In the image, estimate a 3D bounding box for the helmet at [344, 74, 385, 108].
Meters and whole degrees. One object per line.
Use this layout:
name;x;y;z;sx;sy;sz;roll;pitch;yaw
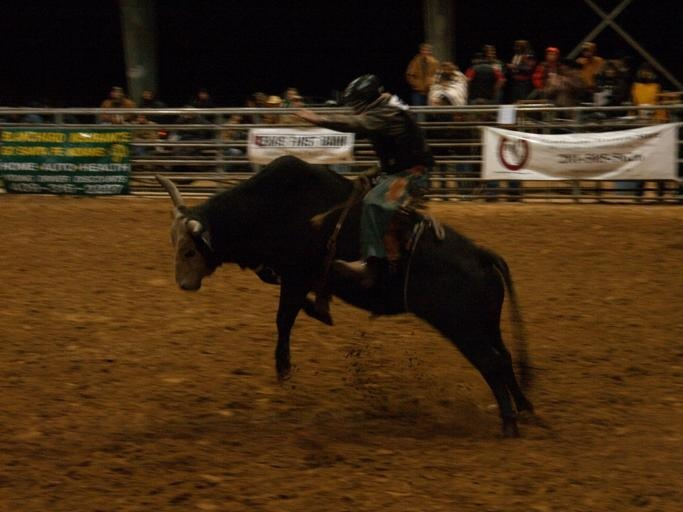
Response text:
helmet;0.217;-1.594;6.679;0.385;0.328;0.219;0;16;-1

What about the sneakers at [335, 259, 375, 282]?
sneakers;0.126;0.139;6.596;0.274;0.226;0.284;8;15;28

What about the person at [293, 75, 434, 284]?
person;0.363;-0.782;6.591;0.770;1.893;0.822;6;18;17
